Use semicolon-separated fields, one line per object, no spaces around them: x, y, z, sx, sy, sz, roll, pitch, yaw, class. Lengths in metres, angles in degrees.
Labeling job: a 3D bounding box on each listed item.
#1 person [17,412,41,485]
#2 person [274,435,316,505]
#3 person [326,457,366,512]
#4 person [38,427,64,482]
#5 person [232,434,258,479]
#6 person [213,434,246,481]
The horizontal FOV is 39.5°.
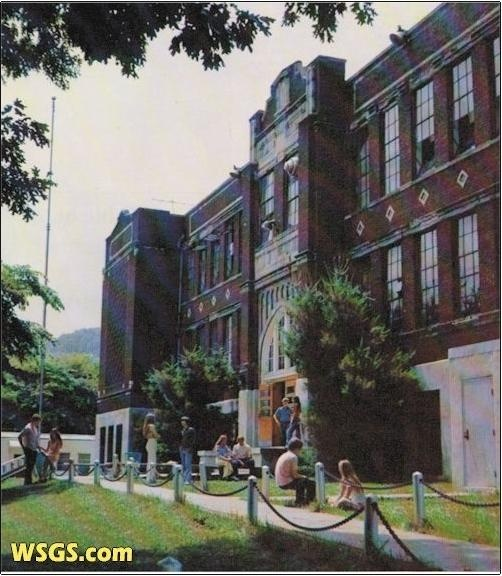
-4.871;3.502;15.419;0.441;1.502;1.566;5;-20;-16;person
0.776;3.213;12.375;0.595;1.125;1.308;-4;-20;12;person
1.609;3.248;11.479;0.495;0.733;0.864;-2;-19;6;person
-4.782;4.014;16.704;0.444;1.246;1.067;5;-19;-17;person
-0.224;4.333;17.822;0.546;1.218;0.657;4;-11;-28;person
-0.649;4.281;17.773;0.600;1.116;0.667;12;-21;-33;person
